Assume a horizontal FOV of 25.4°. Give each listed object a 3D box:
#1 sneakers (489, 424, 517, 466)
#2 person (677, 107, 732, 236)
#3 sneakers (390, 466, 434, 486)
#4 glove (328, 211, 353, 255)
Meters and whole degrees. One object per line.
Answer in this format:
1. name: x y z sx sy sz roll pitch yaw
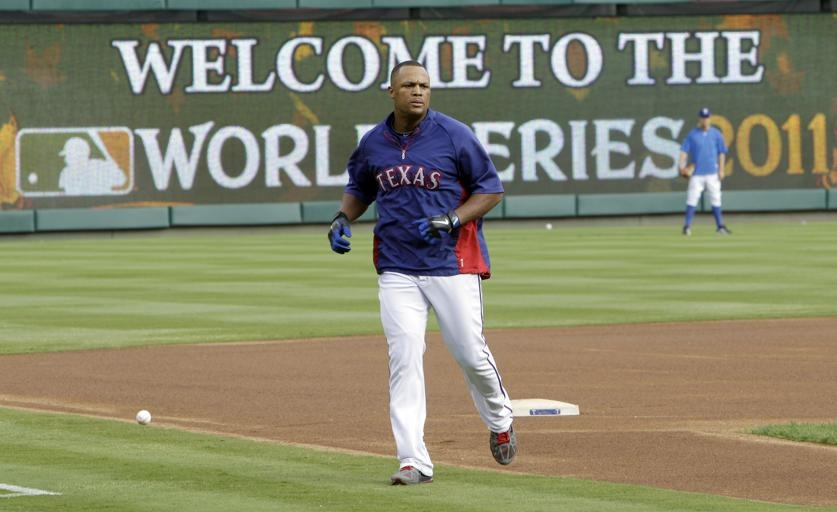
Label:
1. sneakers: 1.209 2.714 26.454 0.277 0.604 0.267 -7 4 4
2. person: 5.657 -1.636 36.894 0.911 2.479 1.119 -2 3 8
3. sneakers: -0.086 3.076 26.087 0.583 0.212 0.243 -1 7 -12
4. glove: -1.091 -0.337 26.709 0.346 0.582 0.246 -28 -46 18
